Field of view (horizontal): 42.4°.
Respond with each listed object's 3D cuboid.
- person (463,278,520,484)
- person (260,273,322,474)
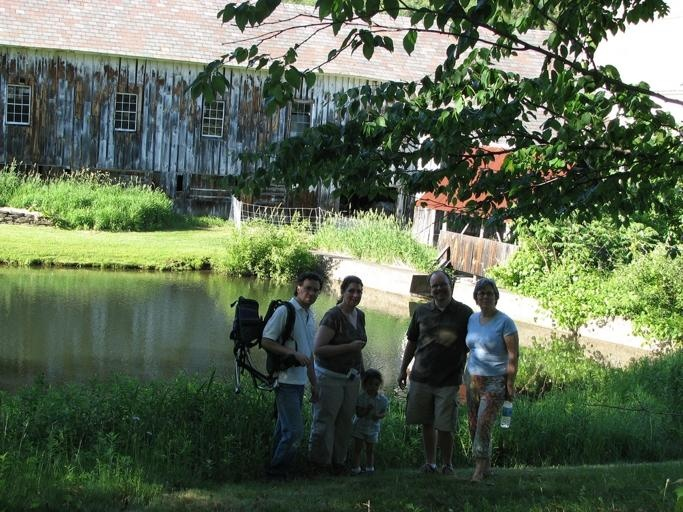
[{"bbox_3d":[1.777,1.462,10.593,0.520,2.094,0.561,2,1,-16],"label":"person"},{"bbox_3d":[-0.619,1.392,10.450,0.741,1.785,0.475,2,1,-21],"label":"person"}]
